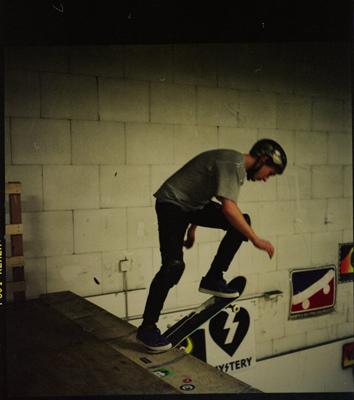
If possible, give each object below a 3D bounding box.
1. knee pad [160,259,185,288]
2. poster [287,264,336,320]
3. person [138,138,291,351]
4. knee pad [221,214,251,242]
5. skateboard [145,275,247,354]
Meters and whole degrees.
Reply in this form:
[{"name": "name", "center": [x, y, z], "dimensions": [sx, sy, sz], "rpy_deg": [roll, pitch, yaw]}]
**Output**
[{"name": "knee pad", "center": [-0.028, 0.357, 2.154], "dimensions": [0.074, 0.120, 0.069], "rpy_deg": [22, 11, -25]}, {"name": "poster", "center": [0.730, 0.503, 2.416], "dimensions": [0.257, 0.297, 0.037], "rpy_deg": [-1, 0, -26]}, {"name": "person", "center": [0.178, 0.217, 2.326], "dimensions": [0.596, 1.236, 0.552], "rpy_deg": [11, 3, 5]}, {"name": "knee pad", "center": [0.316, 0.154, 2.242], "dimensions": [0.047, 0.134, 0.135], "rpy_deg": [-25, -31, -10]}, {"name": "skateboard", "center": [0.073, 0.573, 2.218], "dimensions": [0.117, 0.464, 0.070], "rpy_deg": [45, -2, 31]}]
